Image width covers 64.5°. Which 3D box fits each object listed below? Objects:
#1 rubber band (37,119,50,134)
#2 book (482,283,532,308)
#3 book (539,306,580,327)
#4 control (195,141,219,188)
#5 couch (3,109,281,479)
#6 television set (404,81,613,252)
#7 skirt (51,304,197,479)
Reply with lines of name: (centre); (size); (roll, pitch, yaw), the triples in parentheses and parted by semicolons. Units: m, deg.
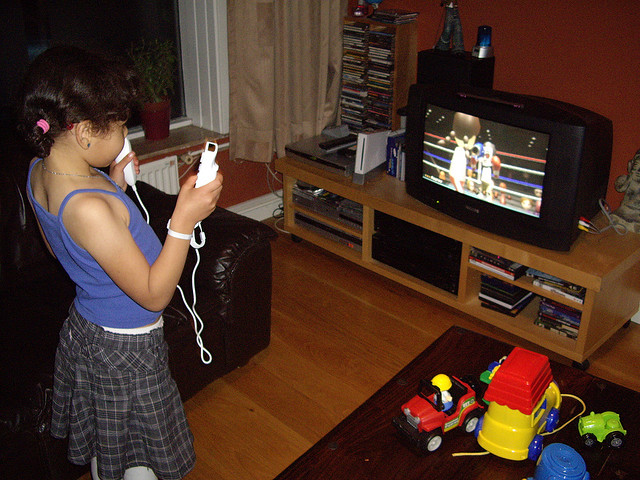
rubber band: (-0.731, -0.301, 1.341); (0.029, 0.022, 0.029); (-48, 13, -9)
book: (1.032, 0.310, 2.800); (0.150, 0.040, 0.160); (7, 20, 2)
book: (1.252, 0.392, 2.625); (0.109, 0.028, 0.111); (21, 20, 32)
control: (-0.352, -0.229, 1.582); (0.070, 0.219, 0.060); (-2, 60, -24)
couch: (-1.000, 0.274, 2.757); (1.410, 1.491, 1.462); (-24, 44, -32)
television set: (0.994, -0.550, 2.822); (0.975, 0.719, 0.623); (22, 42, 35)
skirt: (-0.687, 0.528, 1.722); (0.504, 0.505, 0.351); (28, 41, 13)
